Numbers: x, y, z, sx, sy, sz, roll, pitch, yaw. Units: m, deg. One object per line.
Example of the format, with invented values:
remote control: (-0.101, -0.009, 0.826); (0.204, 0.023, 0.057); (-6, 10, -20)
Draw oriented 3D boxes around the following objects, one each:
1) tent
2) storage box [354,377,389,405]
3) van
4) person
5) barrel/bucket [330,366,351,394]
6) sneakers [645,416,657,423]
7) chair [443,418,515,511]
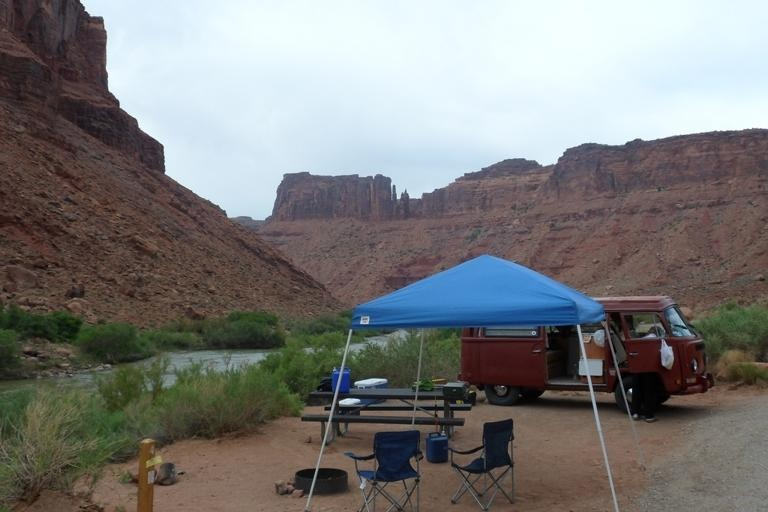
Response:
tent: (1.893, 2.097, 10.417); (4.783, 3.190, 4.531); (0, -6, 12)
storage box: (-0.342, 3.164, 11.916); (0.556, 0.464, 1.008); (-3, -6, 23)
van: (5.011, 2.420, 13.754); (5.707, 2.435, 3.067); (-4, -5, 25)
person: (6.241, 2.752, 12.356); (0.909, 2.144, 0.925); (-2, -12, 9)
barrel/bucket: (-0.920, 2.717, 11.573); (0.644, 0.638, 0.614); (0, -3, 0)
sneakers: (6.196, 3.789, 12.287); (0.302, 0.110, 0.226); (-1, -12, 5)
chair: (1.778, 3.562, 9.338); (1.026, 1.405, 1.833); (-2, -12, 11)
